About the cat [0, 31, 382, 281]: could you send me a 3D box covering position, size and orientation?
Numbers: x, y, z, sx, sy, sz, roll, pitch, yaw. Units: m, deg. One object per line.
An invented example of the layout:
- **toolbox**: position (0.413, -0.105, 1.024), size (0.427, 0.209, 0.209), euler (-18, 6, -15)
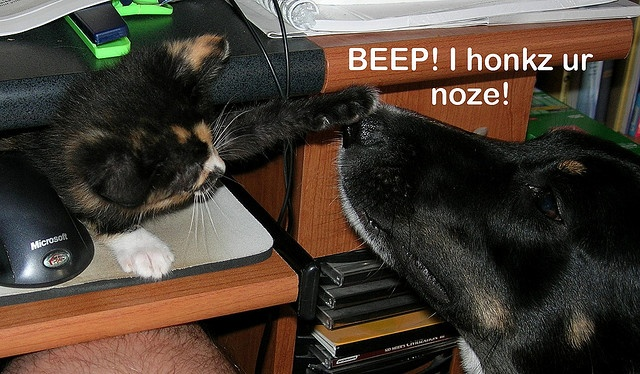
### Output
- **cat**: position (-0.258, -0.059, 0.916), size (0.726, 0.214, 0.398), euler (5, 49, 19)
